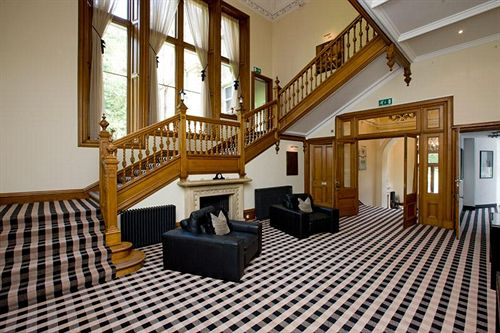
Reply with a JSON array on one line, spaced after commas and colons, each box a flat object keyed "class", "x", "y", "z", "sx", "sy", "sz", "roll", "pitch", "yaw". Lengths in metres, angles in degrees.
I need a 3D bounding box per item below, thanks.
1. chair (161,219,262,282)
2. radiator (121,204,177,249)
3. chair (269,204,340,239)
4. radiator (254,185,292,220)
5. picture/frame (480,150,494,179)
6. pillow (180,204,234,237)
[{"class": "chair", "x": -0.880, "y": 1.993, "z": 7.687, "sx": 1.539, "sy": 0.839, "sz": 1.578, "roll": 0, "pitch": 2, "yaw": 19}, {"class": "radiator", "x": -2.718, "y": 1.599, "z": 8.473, "sx": 1.113, "sy": 0.933, "sz": 0.195, "roll": -1, "pitch": 4, "yaw": -42}, {"class": "chair", "x": 1.505, "y": 1.623, "z": 9.672, "sx": 1.093, "sy": 0.546, "sz": 1.165, "roll": -1, "pitch": 0, "yaw": -30}, {"class": "radiator", "x": 0.728, "y": 1.224, "z": 10.732, "sx": 1.077, "sy": 0.710, "sz": 0.144, "roll": -3, "pitch": -1, "yaw": -39}, {"class": "picture/frame", "x": 9.697, "y": -0.087, "z": 13.245, "sx": 1.052, "sy": 1.567, "sz": 0.112, "roll": -1, "pitch": 0, "yaw": -30}, {"class": "pillow", "x": -0.950, "y": 1.327, "z": 7.777, "sx": 0.864, "sy": 0.780, "sz": 0.308, "roll": -1, "pitch": -25, "yaw": -46}]
